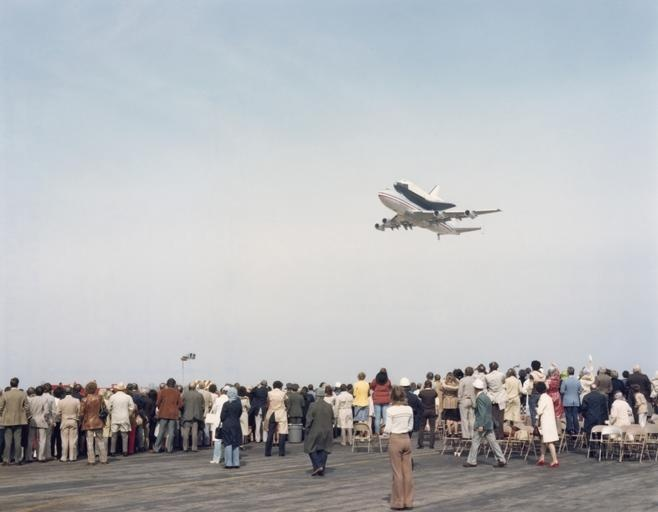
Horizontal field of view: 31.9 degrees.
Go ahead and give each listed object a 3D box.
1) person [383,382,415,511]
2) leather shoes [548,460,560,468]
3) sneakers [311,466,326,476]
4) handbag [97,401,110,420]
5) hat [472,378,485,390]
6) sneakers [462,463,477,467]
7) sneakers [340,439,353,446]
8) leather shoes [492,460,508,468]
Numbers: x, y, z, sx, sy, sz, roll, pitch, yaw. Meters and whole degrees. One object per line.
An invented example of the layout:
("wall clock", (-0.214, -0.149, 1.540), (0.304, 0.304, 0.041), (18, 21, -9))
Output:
("person", (1.635, 4.434, 26.755), (0.686, 2.874, 0.643), (-4, -14, 2))
("leather shoes", (5.951, 5.515, 30.519), (0.241, 0.177, 0.405), (-6, -13, 8))
("sneakers", (-0.289, 5.557, 29.736), (0.265, 0.218, 0.545), (0, -1, -1))
("handbag", (-6.380, 4.315, 32.352), (0.277, 0.575, 0.596), (-5, -6, -3))
("hat", (3.966, 3.404, 30.630), (0.364, 0.167, 0.476), (1, 18, 2))
("sneakers", (3.723, 5.546, 30.666), (0.328, 0.135, 0.235), (-5, -14, 8))
("sneakers", (0.530, 5.900, 36.311), (0.179, 0.204, 0.496), (-3, -15, -21))
("leather shoes", (4.550, 5.548, 30.710), (0.397, 0.160, 0.134), (2, -2, 40))
